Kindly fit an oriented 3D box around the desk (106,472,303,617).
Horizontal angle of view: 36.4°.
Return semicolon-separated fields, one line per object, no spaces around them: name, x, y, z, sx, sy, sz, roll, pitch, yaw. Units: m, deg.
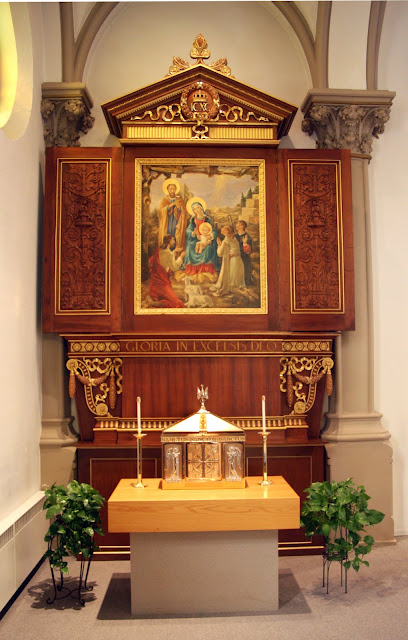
desk;-0.024;1.255;4.434;1.422;0.838;0.772;-1;0;-1
